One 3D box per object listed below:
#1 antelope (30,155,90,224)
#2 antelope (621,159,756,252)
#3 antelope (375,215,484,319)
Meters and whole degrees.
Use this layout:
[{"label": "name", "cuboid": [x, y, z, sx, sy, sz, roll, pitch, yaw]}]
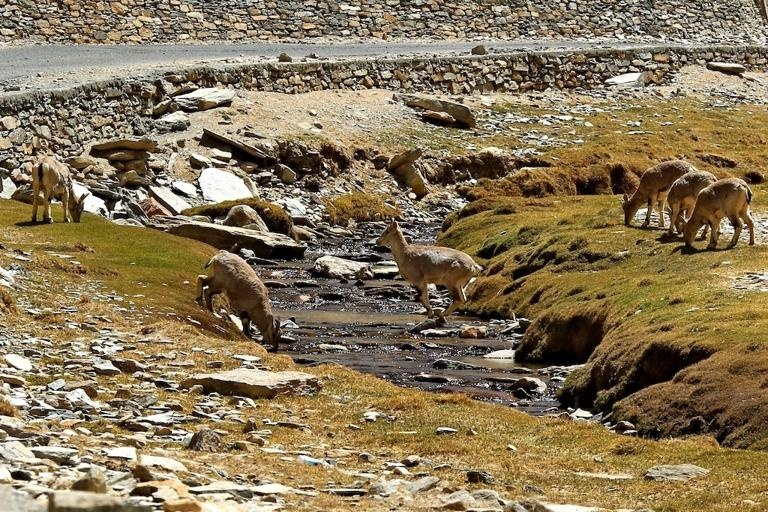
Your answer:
[{"label": "antelope", "cuboid": [-13.233, -2.559, 56.303, 1.293, 2.423, 3.922, -2, -10, 11]}, {"label": "antelope", "cuboid": [12.474, -1.998, 53.957, 3.168, 2.960, 6.545, 3, 13, -18]}, {"label": "antelope", "cuboid": [1.921, 0.508, 54.146, 5.293, 3.403, 1.720, 7, 7, 40]}]
